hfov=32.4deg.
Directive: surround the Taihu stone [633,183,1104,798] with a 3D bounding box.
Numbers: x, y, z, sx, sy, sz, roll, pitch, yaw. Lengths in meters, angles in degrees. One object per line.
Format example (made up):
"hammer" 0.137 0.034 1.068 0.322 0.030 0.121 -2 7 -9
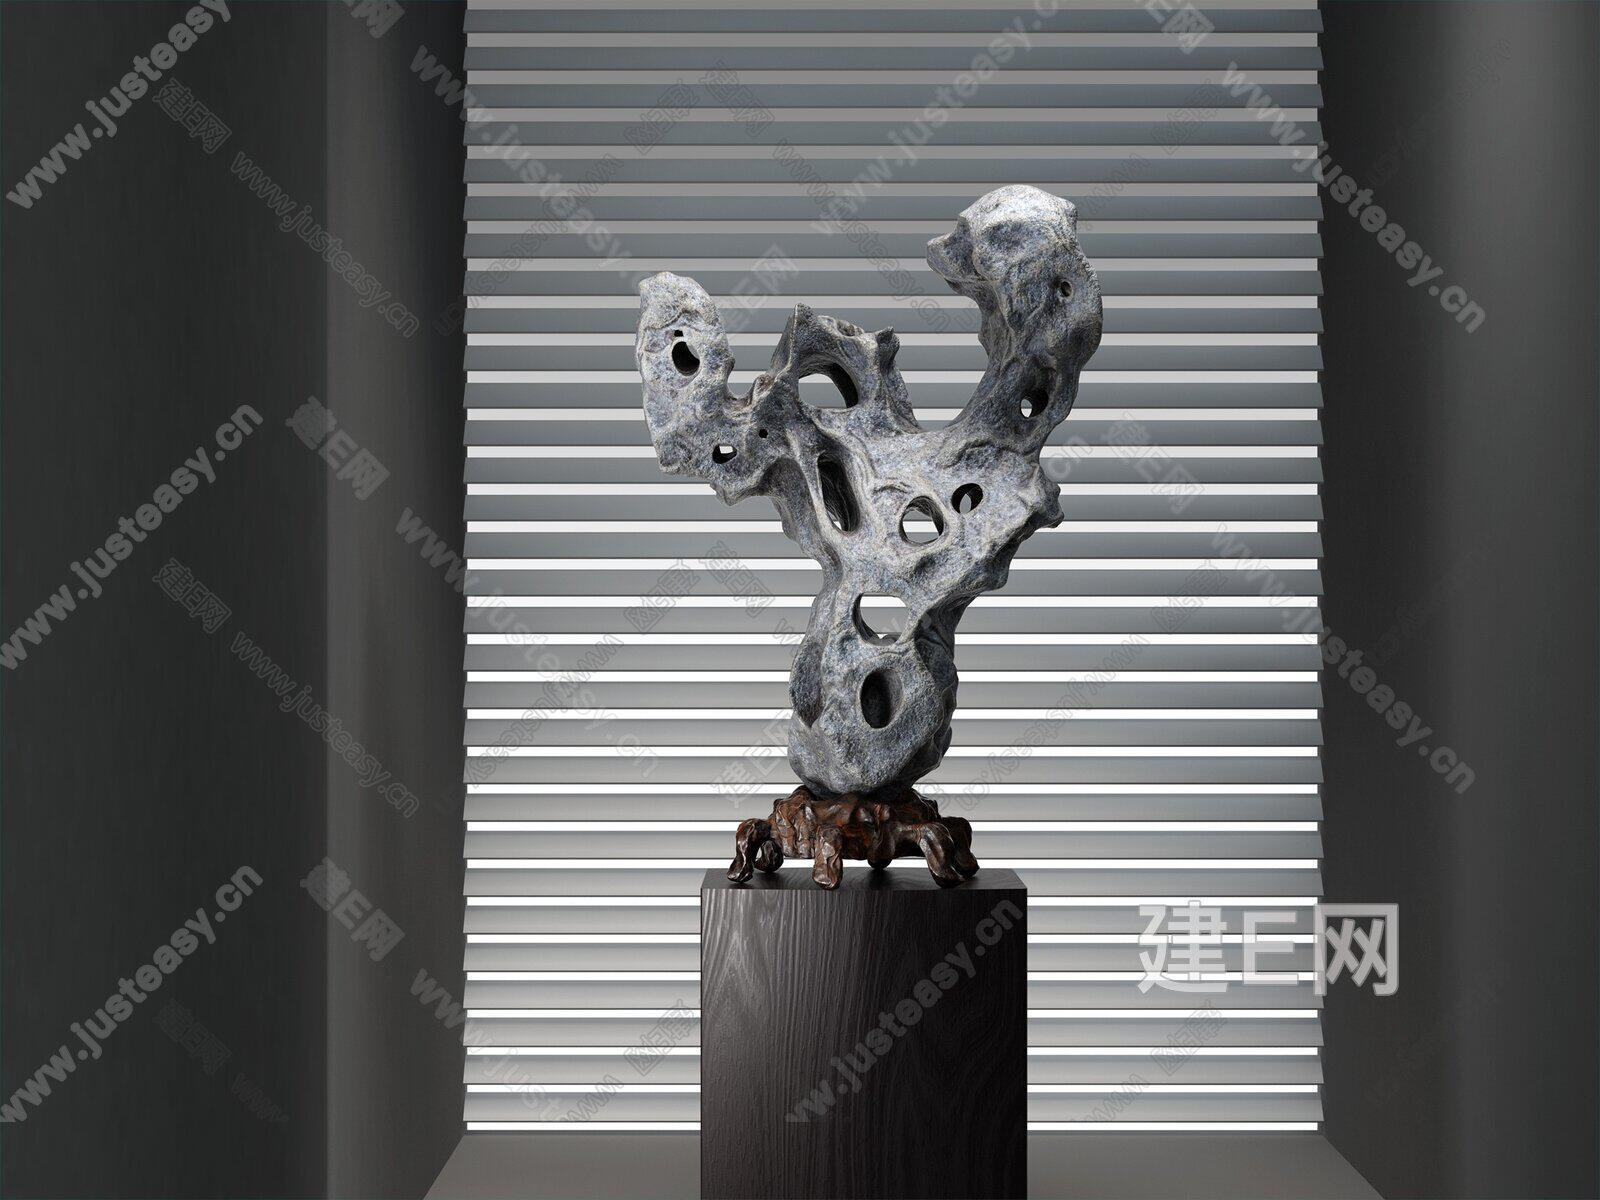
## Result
"Taihu stone" 0.158 -0.282 5.953 0.745 1.411 0.768 0 6 2
